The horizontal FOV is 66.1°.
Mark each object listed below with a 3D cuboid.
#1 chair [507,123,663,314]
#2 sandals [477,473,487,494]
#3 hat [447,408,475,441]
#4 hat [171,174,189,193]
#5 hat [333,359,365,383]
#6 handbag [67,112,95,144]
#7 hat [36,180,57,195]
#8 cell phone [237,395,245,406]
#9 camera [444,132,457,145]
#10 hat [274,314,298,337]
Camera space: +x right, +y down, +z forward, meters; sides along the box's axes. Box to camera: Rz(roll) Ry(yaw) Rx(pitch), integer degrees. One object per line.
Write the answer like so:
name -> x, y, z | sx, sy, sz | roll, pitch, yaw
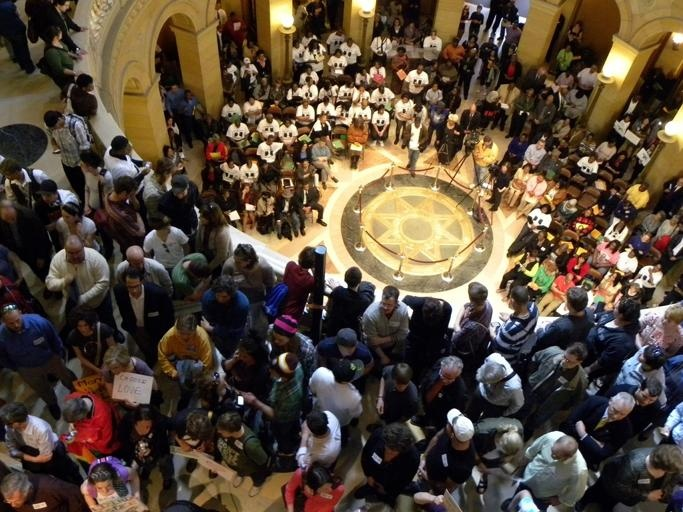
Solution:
chair -> 5.199, -0.663, 11.733 | 2.900, 2.609, 4.413 | 27, 37, 25
sandals -> 1.677, 2.758, 6.346 | 0.118, 0.300, 0.112 | 7, 11, 12
hat -> 1.256, 1.793, 5.603 | 0.192, 0.169, 0.331 | -13, 55, -5
hat -> -2.229, -1.020, 7.226 | 0.242, 0.218, 0.274 | -6, 36, -22
hat -> 0.060, 1.288, 5.854 | 0.329, 0.182, 0.254 | -17, 65, 14
handbag -> -3.850, -1.844, 7.657 | 0.276, 0.412, 0.256 | -5, 34, -21
hat -> -3.826, -0.890, 6.788 | 0.211, 0.179, 0.200 | -3, 35, -19
cell phone -> -1.181, 1.682, 6.065 | 0.081, 0.159, 0.098 | 14, 69, -8
camera -> 2.763, -2.996, 13.410 | 0.254, 0.206, 0.297 | 0, 78, 5
hat -> -0.660, 0.832, 6.042 | 0.270, 0.320, 0.273 | 4, 32, -8
